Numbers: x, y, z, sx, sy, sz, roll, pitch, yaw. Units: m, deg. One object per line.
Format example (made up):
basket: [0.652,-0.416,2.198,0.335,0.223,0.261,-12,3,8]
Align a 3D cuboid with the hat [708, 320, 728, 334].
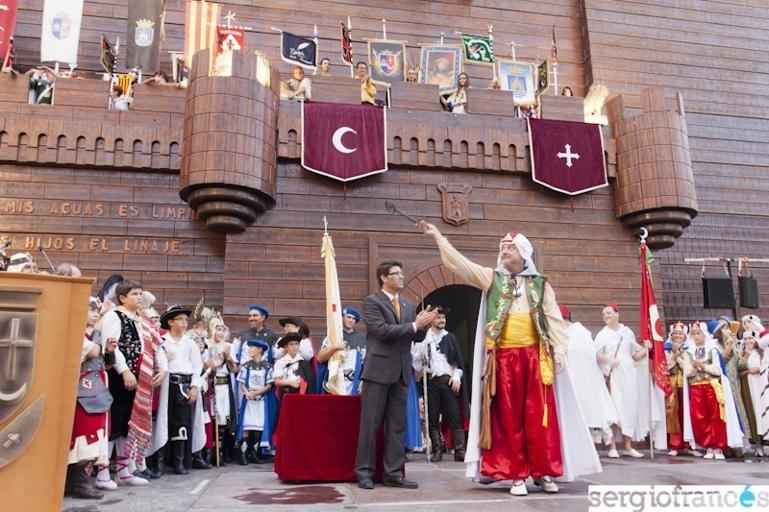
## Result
hat: [6.469,1.347,14.854,0.273,0.102,0.299,-31,-7,-43]

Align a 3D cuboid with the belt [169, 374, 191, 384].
belt: [-3.228,1.926,11.961,0.215,0.105,0.165,2,-5,6]

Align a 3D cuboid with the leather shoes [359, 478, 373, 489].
leather shoes: [-0.262,3.142,10.575,0.221,0.147,0.226,-1,-9,-4]

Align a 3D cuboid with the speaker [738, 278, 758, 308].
speaker: [8.684,0.750,18.288,0.469,0.463,0.175,4,-4,-42]

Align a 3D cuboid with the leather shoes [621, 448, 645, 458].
leather shoes: [4.374,3.455,13.362,0.286,0.106,0.164,-1,-9,12]

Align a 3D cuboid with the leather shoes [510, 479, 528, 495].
leather shoes: [1.794,3.098,10.213,0.261,0.195,0.333,-2,-9,5]

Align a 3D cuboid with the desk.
desk: [-0.998,2.767,11.524,1.788,1.215,1.125,7,-18,-25]

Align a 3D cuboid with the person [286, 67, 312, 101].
person: [-1.800,-3.719,16.314,0.596,0.778,0.405,-1,-1,11]

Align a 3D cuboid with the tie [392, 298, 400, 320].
tie: [0.166,0.733,10.941,0.143,0.253,0.061,4,-17,-35]

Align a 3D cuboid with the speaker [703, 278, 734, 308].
speaker: [8.004,0.879,18.276,0.664,0.615,0.222,2,-13,-12]

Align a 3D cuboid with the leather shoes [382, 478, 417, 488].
leather shoes: [0.207,3.132,10.605,0.456,0.149,0.168,-4,-11,20]
